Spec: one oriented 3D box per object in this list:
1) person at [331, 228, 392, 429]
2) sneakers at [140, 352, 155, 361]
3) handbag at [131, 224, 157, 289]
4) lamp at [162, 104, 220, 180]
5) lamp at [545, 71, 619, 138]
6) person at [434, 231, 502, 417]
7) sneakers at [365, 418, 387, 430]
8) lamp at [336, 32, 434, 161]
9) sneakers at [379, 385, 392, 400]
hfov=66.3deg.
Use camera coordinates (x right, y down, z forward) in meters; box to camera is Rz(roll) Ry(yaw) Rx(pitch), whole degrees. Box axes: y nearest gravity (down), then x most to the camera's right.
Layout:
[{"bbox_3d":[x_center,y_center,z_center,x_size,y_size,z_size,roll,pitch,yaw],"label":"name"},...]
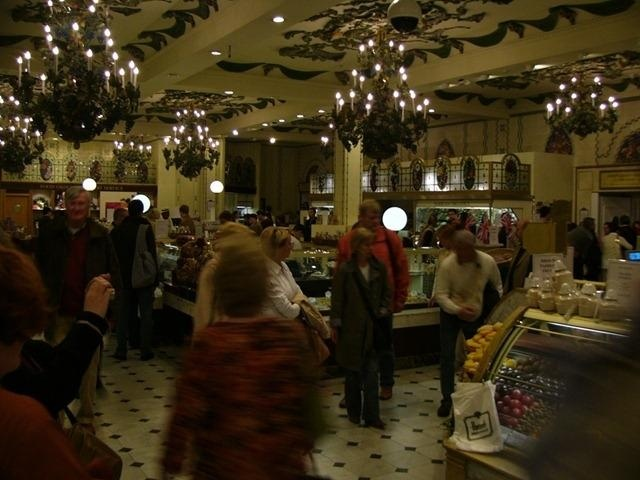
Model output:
[{"bbox_3d":[0.393,0.818,4.525,0.598,1.847,0.311,0,2,-15],"label":"person"},{"bbox_3d":[-2.309,1.539,6.586,0.119,0.093,0.122,1,-4,12],"label":"sneakers"},{"bbox_3d":[-2.298,0.212,6.380,0.309,0.838,0.196,-1,3,-24],"label":"handbag"},{"bbox_3d":[-3.308,-2.546,12.612,1.221,1.950,2.003,0,3,-16],"label":"lamp"},{"bbox_3d":[5.262,-2.684,9.904,0.977,1.354,0.959,11,-8,-38],"label":"lamp"},{"bbox_3d":[1.475,0.826,4.831,0.615,1.918,0.630,-2,11,-4],"label":"person"},{"bbox_3d":[0.524,1.696,4.562,0.201,0.093,0.078,-4,-3,30],"label":"sneakers"},{"bbox_3d":[0.880,-2.106,7.059,1.303,2.110,1.266,3,-3,-42],"label":"lamp"},{"bbox_3d":[0.705,1.624,5.258,0.067,0.154,0.208,1,6,-11],"label":"sneakers"}]
